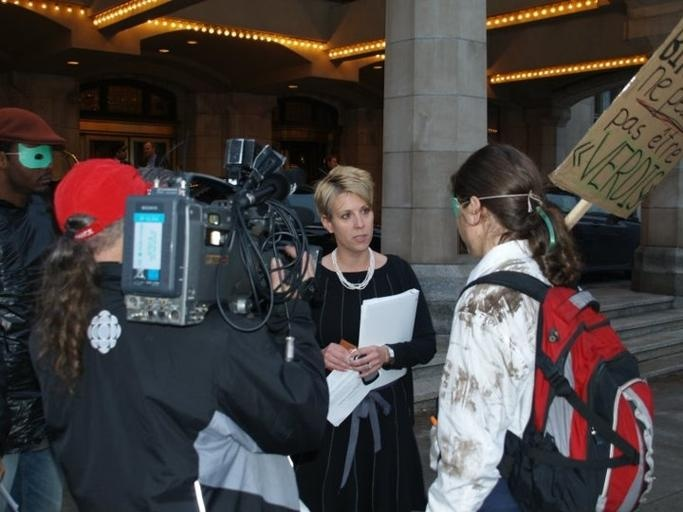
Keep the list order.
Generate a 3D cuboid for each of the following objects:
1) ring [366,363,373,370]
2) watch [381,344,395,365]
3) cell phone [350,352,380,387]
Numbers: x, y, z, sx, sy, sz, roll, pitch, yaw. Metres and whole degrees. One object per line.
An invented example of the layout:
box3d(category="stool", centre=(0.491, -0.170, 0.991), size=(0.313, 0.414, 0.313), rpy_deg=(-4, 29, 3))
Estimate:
box3d(category="ring", centre=(0.134, 0.532, 3.095), size=(0.030, 0.032, 0.031), rpy_deg=(-2, 5, 0))
box3d(category="watch", centre=(0.241, 0.487, 3.113), size=(0.079, 0.095, 0.060), rpy_deg=(-6, 2, 41))
box3d(category="cell phone", centre=(0.108, 0.544, 3.108), size=(0.098, 0.177, 0.091), rpy_deg=(-22, 31, -36))
